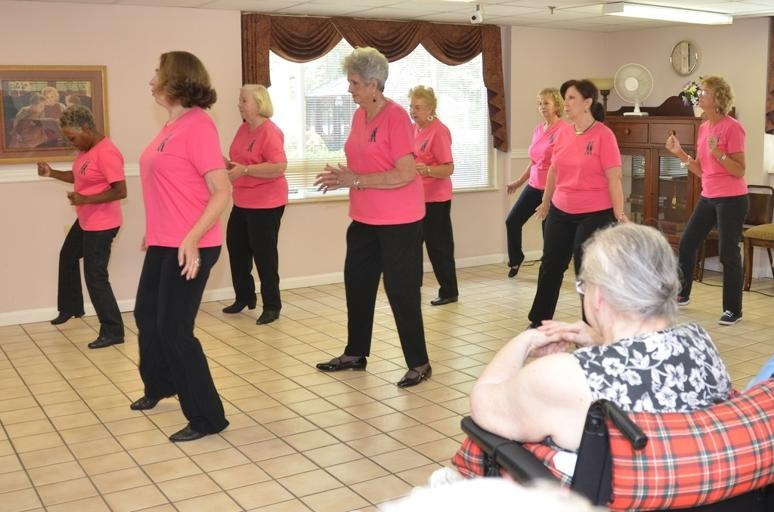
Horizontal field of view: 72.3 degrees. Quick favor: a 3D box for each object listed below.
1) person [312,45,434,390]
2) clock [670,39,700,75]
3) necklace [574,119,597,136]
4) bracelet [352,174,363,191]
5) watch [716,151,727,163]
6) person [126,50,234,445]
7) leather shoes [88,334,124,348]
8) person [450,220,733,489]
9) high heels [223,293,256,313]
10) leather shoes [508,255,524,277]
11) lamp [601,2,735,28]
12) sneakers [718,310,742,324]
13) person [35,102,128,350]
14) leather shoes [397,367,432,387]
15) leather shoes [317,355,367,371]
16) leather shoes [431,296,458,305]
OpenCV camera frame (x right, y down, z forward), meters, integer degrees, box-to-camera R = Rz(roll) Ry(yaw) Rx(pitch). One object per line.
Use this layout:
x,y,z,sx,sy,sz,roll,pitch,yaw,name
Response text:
-0.080,-0.249,3.879,0.798,2.437,0.418,1,15,9,person
4.195,-2.770,7.436,0.095,0.493,0.405,-8,15,-25,clock
1.708,-1.126,4.628,0.192,0.159,0.134,-6,17,1,necklace
-0.218,-0.513,3.703,0.072,0.083,0.045,7,13,43,bracelet
3.245,-0.959,5.129,0.044,0.083,0.091,0,51,8,watch
-1.262,-0.030,3.203,0.604,2.323,0.533,-8,16,-26,person
-2.545,0.771,4.834,0.318,0.115,0.101,2,1,-33,leather shoes
0.604,0.340,1.575,0.536,0.839,0.594,-10,16,-31,person
-1.591,0.511,5.730,0.366,0.123,0.166,-2,3,-14,high heels
1.704,0.159,7.087,0.162,0.359,0.135,-1,33,-19,leather shoes
3.406,-2.934,6.428,1.952,0.114,0.289,-6,14,-23,lamp
3.420,0.614,5.261,0.304,0.103,0.106,1,-5,-40,sneakers
-2.756,-0.283,4.882,0.578,2.103,0.913,-12,18,-37,person
0.210,0.905,4.059,0.303,0.094,0.107,-8,5,-36,leather shoes
-0.353,0.862,4.331,0.426,0.135,0.142,3,-2,-1,leather shoes
0.627,0.497,5.999,0.335,0.113,0.104,1,2,-22,leather shoes
